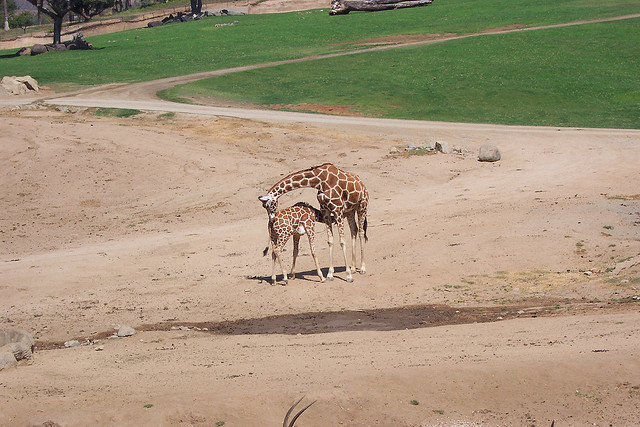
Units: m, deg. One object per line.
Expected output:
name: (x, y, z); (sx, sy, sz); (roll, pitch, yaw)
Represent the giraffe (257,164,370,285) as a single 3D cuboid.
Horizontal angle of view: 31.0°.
giraffe: (-0.085, 0.082, 77.203); (8.015, 7.427, 8.242); (-11, 22, -15)
